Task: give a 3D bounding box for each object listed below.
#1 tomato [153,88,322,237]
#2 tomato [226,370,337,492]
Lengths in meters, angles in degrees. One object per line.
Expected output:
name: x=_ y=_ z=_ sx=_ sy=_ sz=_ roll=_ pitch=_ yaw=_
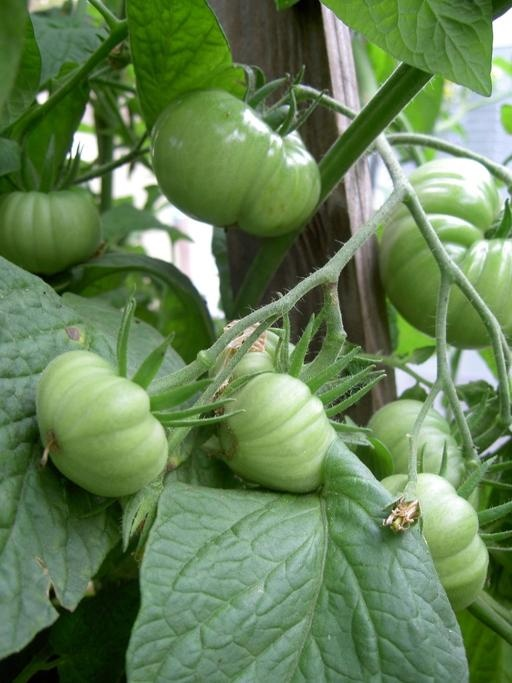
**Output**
tomato: x=-0.021 y=-0.117 z=0.497 sx=0.091 sy=0.060 sz=0.087 roll=34 pitch=-1 yaw=-20
tomato: x=0.010 y=0.049 z=0.370 sx=0.060 sy=0.056 sz=0.041 roll=39 pitch=73 yaw=24
